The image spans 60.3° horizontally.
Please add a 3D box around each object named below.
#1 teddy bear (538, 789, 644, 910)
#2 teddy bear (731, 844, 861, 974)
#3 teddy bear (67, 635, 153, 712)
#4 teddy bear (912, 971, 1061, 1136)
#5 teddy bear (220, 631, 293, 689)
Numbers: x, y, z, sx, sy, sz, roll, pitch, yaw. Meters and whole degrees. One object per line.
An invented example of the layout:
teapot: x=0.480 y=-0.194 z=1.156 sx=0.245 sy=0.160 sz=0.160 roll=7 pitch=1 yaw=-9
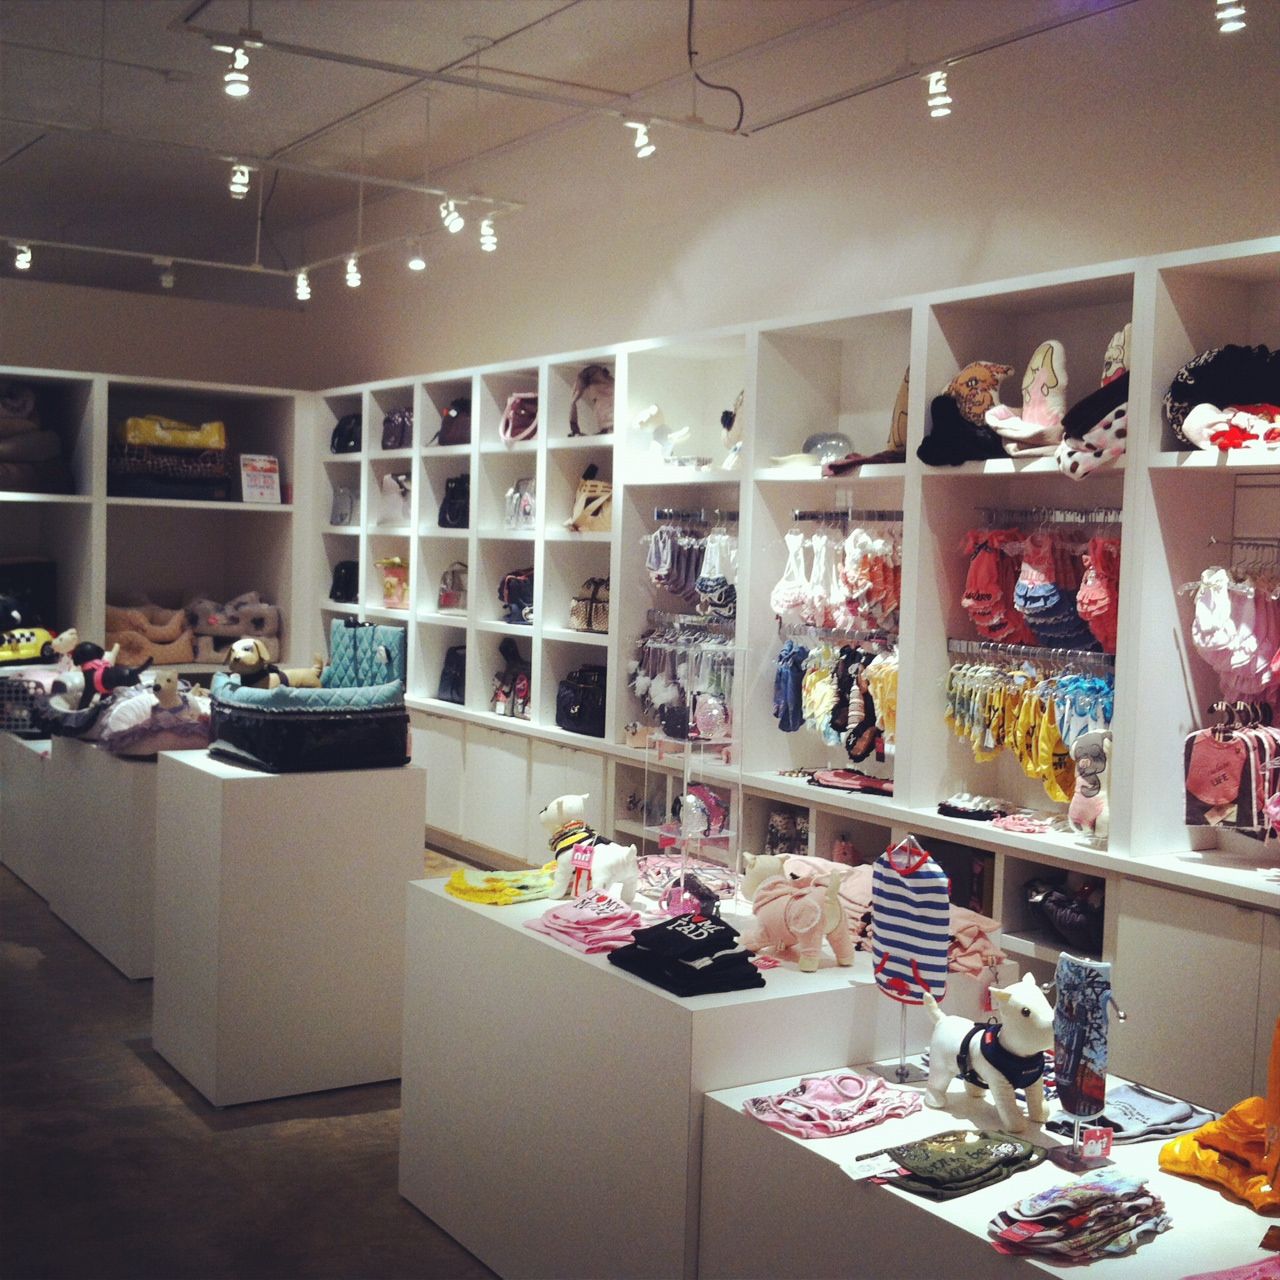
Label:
teddy bear: x=-0.125 y=0.491 z=2.539 sx=0.256 sy=0.227 sz=0.094 roll=11 pitch=-2 yaw=15
teddy bear: x=0.298 y=0.525 z=2.187 sx=0.193 sy=0.162 sz=0.183 roll=0 pitch=2 yaw=-31
teddy bear: x=-2.561 y=0.163 z=5.300 sx=0.225 sy=0.423 sz=0.692 roll=-1 pitch=8 yaw=-35
teddy bear: x=0.554 y=0.658 z=1.761 sx=0.107 sy=0.229 sz=0.260 roll=2 pitch=-7 yaw=-35
teddy bear: x=-1.821 y=0.088 z=5.213 sx=0.194 sy=0.187 sz=0.248 roll=16 pitch=11 yaw=41
